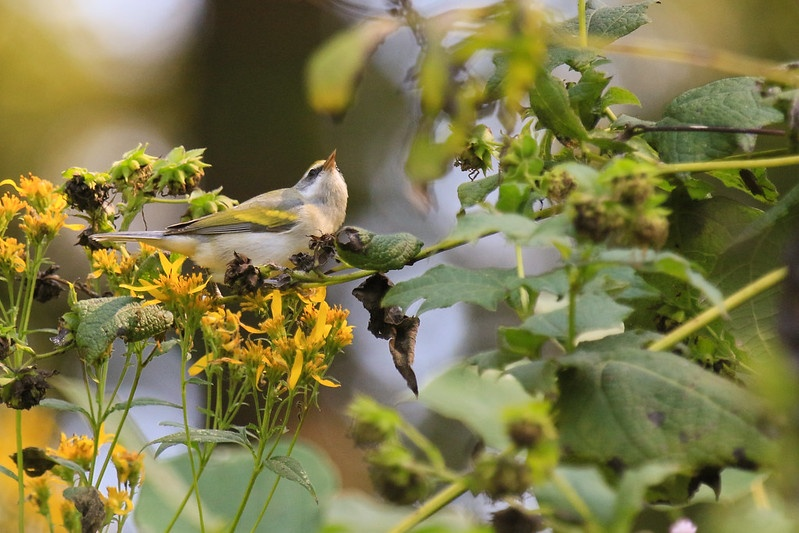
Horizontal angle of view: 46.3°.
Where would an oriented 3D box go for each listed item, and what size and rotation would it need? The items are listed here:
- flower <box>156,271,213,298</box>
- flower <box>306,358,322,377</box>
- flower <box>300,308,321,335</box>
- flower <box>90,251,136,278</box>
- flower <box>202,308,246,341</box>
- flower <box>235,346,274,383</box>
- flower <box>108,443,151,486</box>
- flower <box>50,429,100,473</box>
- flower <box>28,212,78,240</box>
[{"bbox_3d":[-0.556,0.056,2.371,0.084,0.038,0.082,15,-11,-34],"label":"flower"},{"bbox_3d":[-0.221,0.260,2.402,0.044,0.050,0.039,-3,-16,39],"label":"flower"},{"bbox_3d":[-0.236,0.140,2.478,0.063,0.030,0.062,-25,-45,-18],"label":"flower"},{"bbox_3d":[-0.795,-0.006,2.592,0.092,0.057,0.093,2,5,16],"label":"flower"},{"bbox_3d":[-0.472,0.163,2.480,0.102,0.103,0.045,4,-68,-16],"label":"flower"},{"bbox_3d":[-0.386,0.254,2.488,0.090,0.097,0.090,3,-9,8],"label":"flower"},{"bbox_3d":[-0.756,0.562,2.615,0.081,0.147,0.111,-9,-35,-19],"label":"flower"},{"bbox_3d":[-0.896,0.508,2.585,0.114,0.101,0.115,-26,-44,1],"label":"flower"},{"bbox_3d":[-0.993,-0.121,2.607,0.088,0.051,0.089,-8,10,-36],"label":"flower"}]
